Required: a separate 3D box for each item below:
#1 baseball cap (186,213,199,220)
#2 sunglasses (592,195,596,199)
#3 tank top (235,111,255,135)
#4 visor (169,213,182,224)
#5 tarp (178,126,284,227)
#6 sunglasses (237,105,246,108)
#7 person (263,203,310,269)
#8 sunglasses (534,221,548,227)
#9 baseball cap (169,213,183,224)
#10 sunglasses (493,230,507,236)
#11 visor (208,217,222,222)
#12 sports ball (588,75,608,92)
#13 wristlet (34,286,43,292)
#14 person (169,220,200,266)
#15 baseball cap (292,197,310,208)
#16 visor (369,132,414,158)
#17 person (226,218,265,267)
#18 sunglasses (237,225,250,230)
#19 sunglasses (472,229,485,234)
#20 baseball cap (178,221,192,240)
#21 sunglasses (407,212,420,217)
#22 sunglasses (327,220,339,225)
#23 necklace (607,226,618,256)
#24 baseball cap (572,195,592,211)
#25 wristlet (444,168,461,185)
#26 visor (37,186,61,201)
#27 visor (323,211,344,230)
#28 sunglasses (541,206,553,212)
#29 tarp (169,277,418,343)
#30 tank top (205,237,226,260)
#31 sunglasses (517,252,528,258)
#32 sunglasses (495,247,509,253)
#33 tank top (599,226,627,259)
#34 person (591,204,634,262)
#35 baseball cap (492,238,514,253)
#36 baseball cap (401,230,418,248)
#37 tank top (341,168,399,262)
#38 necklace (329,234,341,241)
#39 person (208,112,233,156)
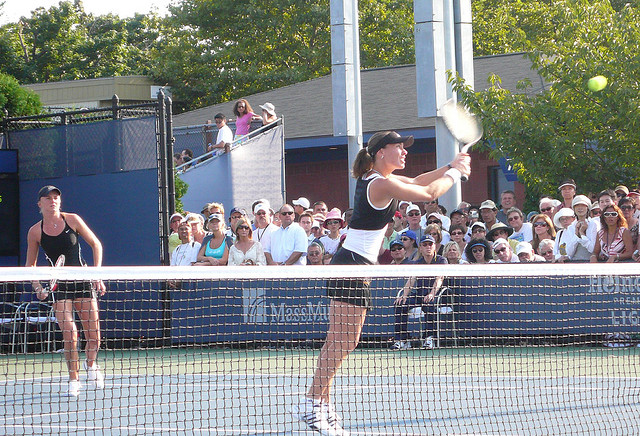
[{"bbox_3d":[-2.495,-0.062,23.327,0.135,0.177,0.176,-1,4,-1],"label":"baseball cap"},{"bbox_3d":[5.146,-0.414,23.029,0.043,0.054,0.081,-2,-2,20],"label":"sunglasses"},{"bbox_3d":[-1.770,-2.200,28.222,0.550,0.531,0.208,-9,-26,30],"label":"tank top"},{"bbox_3d":[-2.823,-0.015,23.642,0.182,0.134,0.183,-1,-11,0],"label":"visor"},{"bbox_3d":[-1.990,-1.005,27.816,2.145,2.416,1.829,9,6,32],"label":"tarp"},{"bbox_3d":[-1.861,-2.598,28.330,0.145,0.058,0.038,-2,2,-4],"label":"sunglasses"},{"bbox_3d":[-0.660,0.352,22.508,0.823,1.156,0.685,-9,-27,20],"label":"person"},{"bbox_3d":[3.992,0.087,22.190,0.224,0.092,0.042,-1,2,12],"label":"sunglasses"},{"bbox_3d":[-2.816,-0.010,23.605,0.253,0.204,0.309,-2,2,-7],"label":"baseball cap"},{"bbox_3d":[3.248,0.251,22.269,0.216,0.101,0.061,-1,2,7],"label":"sunglasses"},{"bbox_3d":[-1.909,-0.003,22.256,0.271,0.076,0.095,-3,2,-39],"label":"visor"},{"bbox_3d":[5.241,-2.564,23.150,0.338,0.285,0.464,-1,2,12],"label":"sports ball"},{"bbox_3d":[-4.474,1.094,19.320,0.089,0.034,0.077,-30,-15,29],"label":"wristlet"},{"bbox_3d":[-2.533,0.468,22.760,0.702,0.957,0.343,-4,-33,1],"label":"person"},{"bbox_3d":[-0.386,-0.342,25.366,0.368,0.180,0.246,15,2,-6],"label":"baseball cap"},{"bbox_3d":[1.037,-1.125,17.927,0.555,0.176,0.337,-23,-3,9],"label":"visor"},{"bbox_3d":[-1.400,0.488,22.416,0.906,1.245,0.734,-1,-13,-4],"label":"person"},{"bbox_3d":[-1.411,0.148,22.095,0.192,0.083,0.041,-2,2,-20],"label":"sunglasses"},{"bbox_3d":[2.883,0.228,22.404,0.206,0.080,0.067,-1,2,6],"label":"sunglasses"},{"bbox_3d":[-2.545,0.212,22.803,0.320,0.305,0.077,3,9,23],"label":"baseball cap"},{"bbox_3d":[1.747,-0.093,22.983,0.218,0.079,0.115,-1,2,-2],"label":"sunglasses"},{"bbox_3d":[0.228,0.060,23.459,0.218,0.080,0.091,-1,2,-1],"label":"sunglasses"},{"bbox_3d":[5.096,0.394,21.339,0.135,0.454,0.078,8,0,32],"label":"necklace"},{"bbox_3d":[4.764,-0.285,22.251,0.350,0.276,0.508,-1,2,11],"label":"baseball cap"},{"bbox_3d":[1.938,-0.649,17.995,0.238,0.193,0.323,-1,2,6],"label":"wristlet"},{"bbox_3d":[-4.383,-0.415,19.603,0.325,0.197,0.273,-3,2,-35],"label":"visor"},{"bbox_3d":[0.230,-0.051,23.707,0.312,0.169,0.329,5,-28,-15],"label":"visor"},{"bbox_3d":[4.191,-0.183,22.710,0.162,0.080,0.059,-1,2,10],"label":"sunglasses"},{"bbox_3d":[-0.826,1.606,21.606,3.953,1.167,1.000,-1,2,9],"label":"tarp"},{"bbox_3d":[-1.931,0.544,22.190,0.389,0.342,0.164,-1,2,22],"label":"tank top"},{"bbox_3d":[3.578,0.628,21.643,0.165,0.100,0.044,-1,2,10],"label":"sunglasses"},{"bbox_3d":[3.212,0.546,21.801,0.216,0.103,0.091,-1,2,25],"label":"sunglasses"},{"bbox_3d":[5.116,0.421,21.328,0.433,0.587,0.332,-10,-18,34],"label":"tank top"},{"bbox_3d":[5.110,0.239,21.316,0.685,0.965,0.312,-1,2,12],"label":"person"},{"bbox_3d":[3.231,0.453,21.931,0.259,0.273,0.131,-14,-6,7],"label":"baseball cap"},{"bbox_3d":[1.645,0.367,22.465,0.332,0.189,0.230,19,-3,-31],"label":"baseball cap"},{"bbox_3d":[0.688,0.042,18.037,0.655,1.159,0.722,7,-11,6],"label":"tank top"},{"bbox_3d":[0.242,0.352,23.394,0.316,0.111,0.179,0,2,33],"label":"necklace"},{"bbox_3d":[-2.332,-1.938,28.066,0.584,1.016,2.066,-2,2,-5],"label":"person"}]
